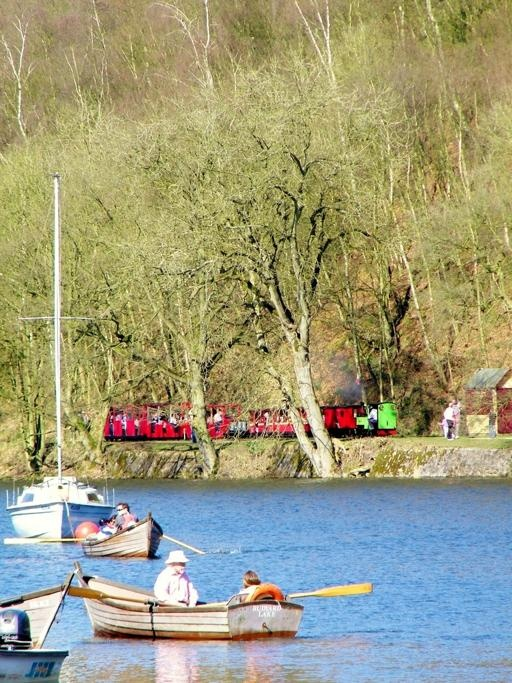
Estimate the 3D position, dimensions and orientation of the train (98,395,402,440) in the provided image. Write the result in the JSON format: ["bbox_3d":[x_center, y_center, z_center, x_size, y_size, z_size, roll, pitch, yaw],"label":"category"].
[{"bbox_3d":[-0.513,3.562,87.570,12.835,3.219,1.773,1,0,20],"label":"train"}]

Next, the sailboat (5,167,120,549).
[{"bbox_3d":[-8.239,-0.213,74.506,3.831,12.081,29.646,-5,1,-5],"label":"sailboat"}]
